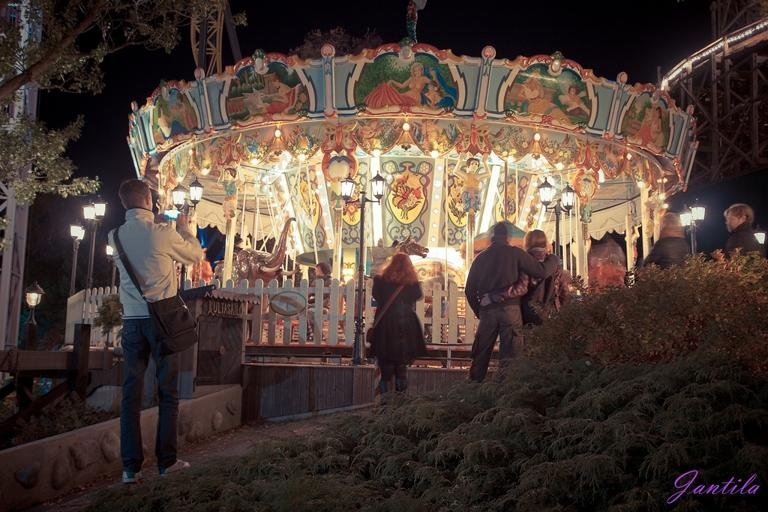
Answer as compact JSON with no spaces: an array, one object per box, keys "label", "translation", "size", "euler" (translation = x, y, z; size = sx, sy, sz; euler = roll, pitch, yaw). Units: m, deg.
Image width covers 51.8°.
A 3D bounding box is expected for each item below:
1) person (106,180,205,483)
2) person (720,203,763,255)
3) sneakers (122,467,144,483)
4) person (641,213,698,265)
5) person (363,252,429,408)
[{"label":"person","translation":[-2.925,0.891,9.886],"size":[1.000,3.761,0.483],"euler":[1,-5,-15]},{"label":"person","translation":[5.435,-0.434,11.981],"size":[0.465,0.937,1.993],"euler":[-3,-6,25]},{"label":"sneakers","translation":[-3.054,2.673,9.625],"size":[0.108,0.152,0.319],"euler":[1,-2,6]},{"label":"person","translation":[4.198,-0.252,11.744],"size":[0.592,0.943,1.447],"euler":[-3,-5,22]},{"label":"person","translation":[0.197,1.079,12.888],"size":[0.942,2.290,0.468],"euler":[-1,-5,0]}]
